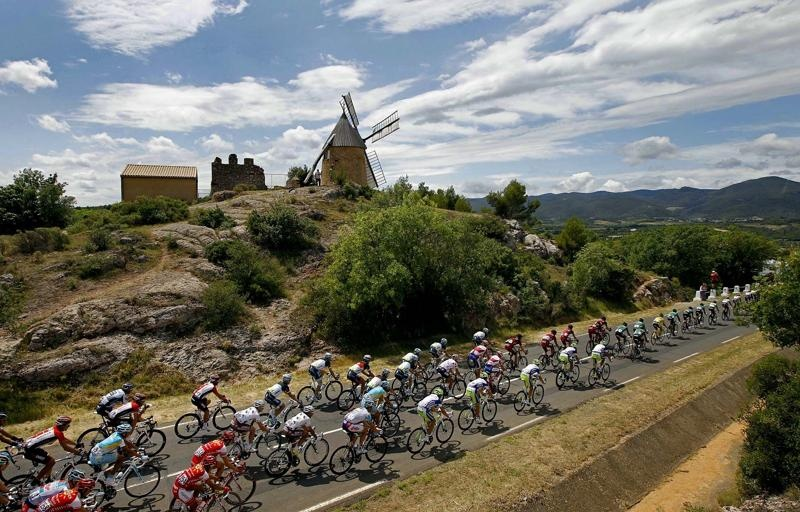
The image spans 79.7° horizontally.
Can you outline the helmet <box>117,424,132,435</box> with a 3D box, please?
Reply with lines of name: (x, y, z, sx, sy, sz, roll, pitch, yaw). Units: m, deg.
helmet: (-15.865, 9.932, 27.571, 0.636, 0.553, 0.483, -4, 18, -30)
